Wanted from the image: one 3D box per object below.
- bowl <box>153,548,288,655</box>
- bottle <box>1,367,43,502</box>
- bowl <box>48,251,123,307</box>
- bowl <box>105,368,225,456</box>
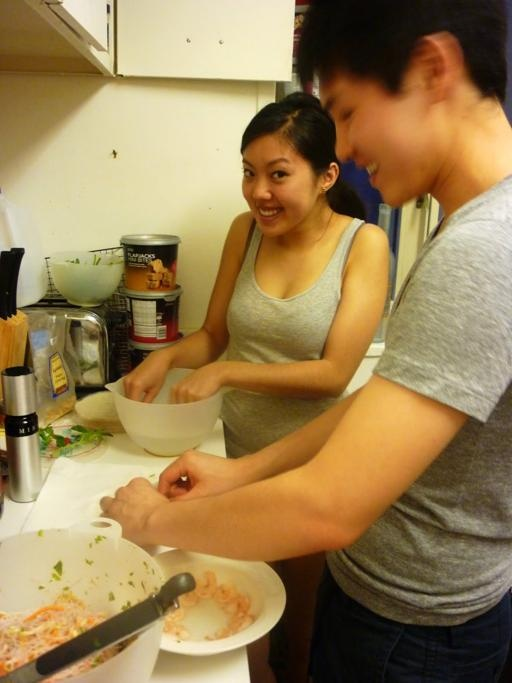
[{"bbox_3d":[-0.064,0.351,0.725,0.166,0.039,0.165,0,19,0],"label":"bowl"},{"bbox_3d":[-0.395,0.157,0.936,0.058,0.252,0.128,-4,15,-22],"label":"bottle"},{"bbox_3d":[-0.483,-0.202,1.619,0.183,0.126,0.202,0,15,-5],"label":"bowl"},{"bbox_3d":[-0.191,0.139,1.157,0.201,0.112,0.175,6,16,9],"label":"bowl"}]
